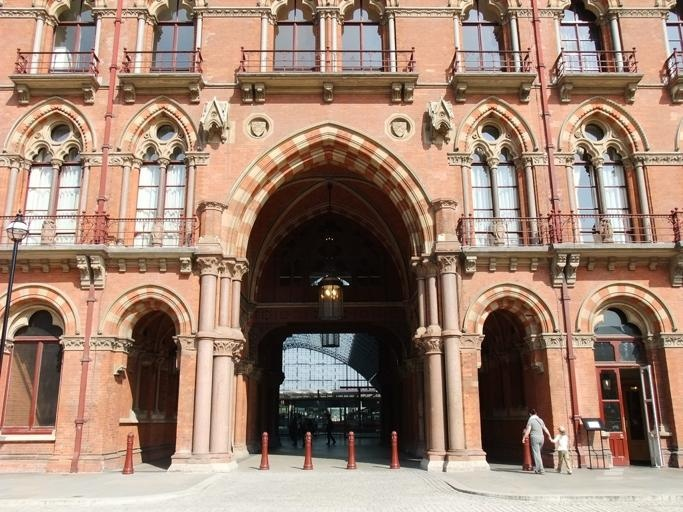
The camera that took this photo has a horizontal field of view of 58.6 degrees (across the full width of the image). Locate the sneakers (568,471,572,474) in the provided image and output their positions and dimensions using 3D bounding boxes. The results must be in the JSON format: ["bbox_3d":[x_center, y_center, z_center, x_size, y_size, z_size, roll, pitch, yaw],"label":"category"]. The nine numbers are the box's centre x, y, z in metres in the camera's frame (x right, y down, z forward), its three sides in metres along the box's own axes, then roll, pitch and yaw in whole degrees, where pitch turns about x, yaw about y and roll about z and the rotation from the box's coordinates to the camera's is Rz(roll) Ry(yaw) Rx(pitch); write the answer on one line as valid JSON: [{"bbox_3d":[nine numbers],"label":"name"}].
[{"bbox_3d":[6.385,6.034,16.985,0.097,0.063,0.344,-5,-14,17],"label":"sneakers"}]

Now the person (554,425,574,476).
[{"bbox_3d":[6.339,5.528,17.435,0.443,1.254,0.729,-5,-14,18],"label":"person"}]
